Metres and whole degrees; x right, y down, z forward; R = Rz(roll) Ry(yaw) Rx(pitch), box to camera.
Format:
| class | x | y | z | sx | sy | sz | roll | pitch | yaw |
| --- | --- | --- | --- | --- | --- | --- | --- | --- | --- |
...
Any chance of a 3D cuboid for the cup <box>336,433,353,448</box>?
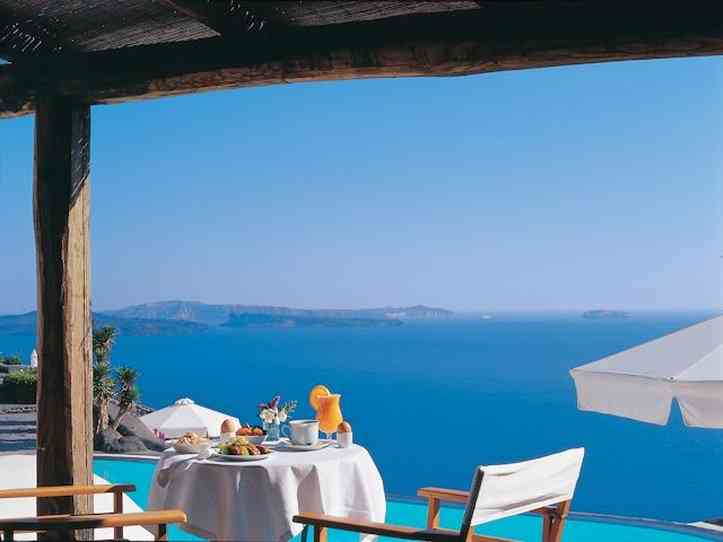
| class | x | y | z | sx | sy | sz | roll | pitch | yaw |
| --- | --- | --- | --- | --- | --- | --- | --- | --- | --- |
| cup | -0.099 | 0.936 | 4.962 | 0.089 | 0.076 | 0.084 | -1 | -4 | 0 |

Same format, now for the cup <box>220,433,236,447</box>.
| class | x | y | z | sx | sy | sz | roll | pitch | yaw |
| --- | --- | --- | --- | --- | --- | --- | --- | --- | --- |
| cup | -0.742 | 0.921 | 4.914 | 0.079 | 0.067 | 0.076 | 0 | -4 | 0 |

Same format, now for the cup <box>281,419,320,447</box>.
| class | x | y | z | sx | sy | sz | roll | pitch | yaw |
| --- | --- | --- | --- | --- | --- | --- | --- | --- | --- |
| cup | -0.343 | 0.898 | 4.965 | 0.163 | 0.101 | 0.125 | 5 | -8 | -37 |

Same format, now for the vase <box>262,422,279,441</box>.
| class | x | y | z | sx | sy | sz | roll | pitch | yaw |
| --- | --- | --- | --- | --- | --- | --- | --- | --- | --- |
| vase | -0.519 | 0.925 | 5.171 | 0.107 | 0.109 | 0.109 | 3 | 3 | 45 |

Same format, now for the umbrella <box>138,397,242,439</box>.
| class | x | y | z | sx | sy | sz | roll | pitch | yaw |
| --- | --- | --- | --- | --- | --- | --- | --- | --- | --- |
| umbrella | -1.953 | 1.578 | 9.617 | 0.900 | 0.325 | 0.995 | -1 | -2 | -10 |

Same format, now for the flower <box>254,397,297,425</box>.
| class | x | y | z | sx | sy | sz | roll | pitch | yaw |
| --- | --- | --- | --- | --- | --- | --- | --- | --- | --- |
| flower | -0.515 | 0.854 | 5.285 | 0.228 | 0.124 | 0.214 | -12 | 16 | -20 |

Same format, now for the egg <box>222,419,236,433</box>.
| class | x | y | z | sx | sy | sz | roll | pitch | yaw |
| --- | --- | --- | --- | --- | --- | --- | --- | --- | --- |
| egg | -0.749 | 0.870 | 5.053 | 0.078 | 0.081 | 0.073 | 2 | 9 | 16 |
